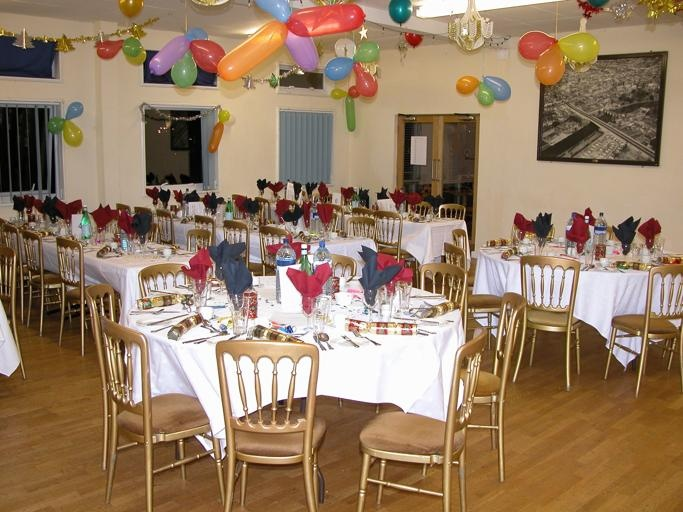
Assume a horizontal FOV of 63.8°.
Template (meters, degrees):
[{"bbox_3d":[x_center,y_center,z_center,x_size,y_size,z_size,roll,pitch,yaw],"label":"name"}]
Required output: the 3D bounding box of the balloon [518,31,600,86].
[{"bbox_3d":[2.525,-2.424,6.542,0.640,0.630,0.862,0,8,-5],"label":"balloon"}]

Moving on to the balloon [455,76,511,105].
[{"bbox_3d":[2.197,-2.649,8.610,0.767,0.636,0.317,14,35,16],"label":"balloon"}]

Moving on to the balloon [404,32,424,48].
[{"bbox_3d":[1.226,-3.763,9.480,0.258,0.172,0.391,2,8,14],"label":"balloon"}]

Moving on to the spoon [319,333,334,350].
[{"bbox_3d":[-0.105,0.518,3.324,0.035,0.030,0.188,-1,12,-10],"label":"spoon"}]

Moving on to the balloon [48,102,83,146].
[{"bbox_3d":[-4.667,-2.249,9.279,0.516,0.764,0.580,-4,9,-30],"label":"balloon"}]

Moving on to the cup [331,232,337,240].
[{"bbox_3d":[-0.112,-0.258,7.042,0.076,0.097,0.078,0,12,0],"label":"cup"}]

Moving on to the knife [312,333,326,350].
[{"bbox_3d":[-0.142,0.521,3.318,0.031,0.011,0.205,-5,16,-14],"label":"knife"}]

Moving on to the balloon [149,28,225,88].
[{"bbox_3d":[-2.037,-2.701,7.315,0.895,0.758,0.876,-2,8,-14],"label":"balloon"}]

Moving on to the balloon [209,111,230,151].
[{"bbox_3d":[-2.444,-2.494,10.873,0.270,0.866,0.230,22,-10,-39],"label":"balloon"}]
